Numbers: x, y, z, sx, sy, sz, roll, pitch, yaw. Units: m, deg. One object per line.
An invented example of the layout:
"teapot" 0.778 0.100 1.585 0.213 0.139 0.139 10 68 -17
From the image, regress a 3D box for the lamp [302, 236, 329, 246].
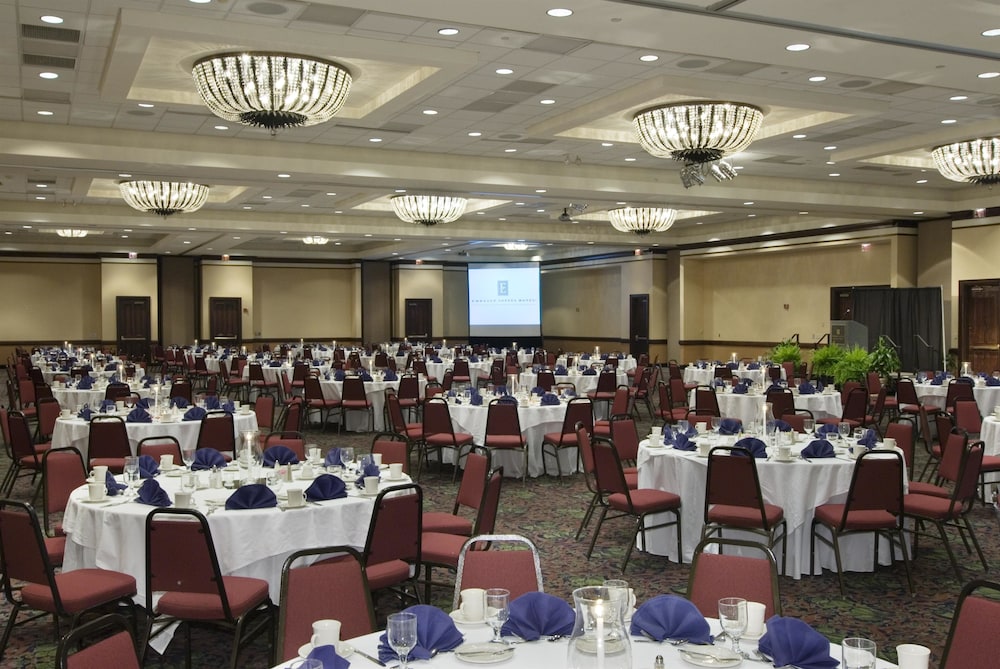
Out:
"lamp" -5.767 -3.010 22.484 0.883 0.179 0.831 0 -1 -20

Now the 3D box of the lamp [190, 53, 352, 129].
"lamp" -2.589 -2.705 8.248 1.850 0.622 1.850 10 14 43

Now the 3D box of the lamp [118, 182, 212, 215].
"lamp" -6.027 -2.526 12.971 1.415 0.542 1.152 -1 0 -26

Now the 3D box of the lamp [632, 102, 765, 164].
"lamp" 2.712 -2.681 9.952 1.704 0.501 1.597 3 -1 -24
